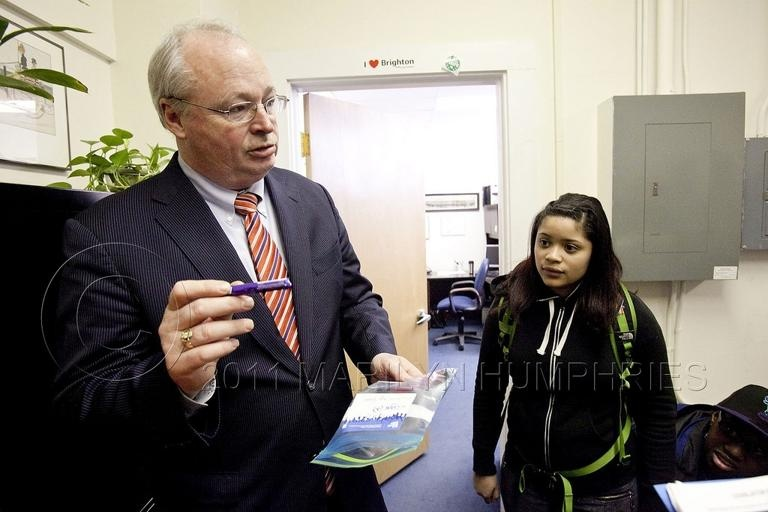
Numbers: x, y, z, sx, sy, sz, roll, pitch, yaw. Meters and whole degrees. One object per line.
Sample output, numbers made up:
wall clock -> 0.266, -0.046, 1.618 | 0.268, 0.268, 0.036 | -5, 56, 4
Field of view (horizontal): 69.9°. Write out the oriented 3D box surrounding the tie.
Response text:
tie -> -0.404, 0.038, 1.860 | 0.137, 0.754, 0.084 | -11, -21, -27

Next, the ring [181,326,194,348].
ring -> -0.564, 0.237, 1.576 | 0.036, 0.046, 0.013 | 6, 4, 19
